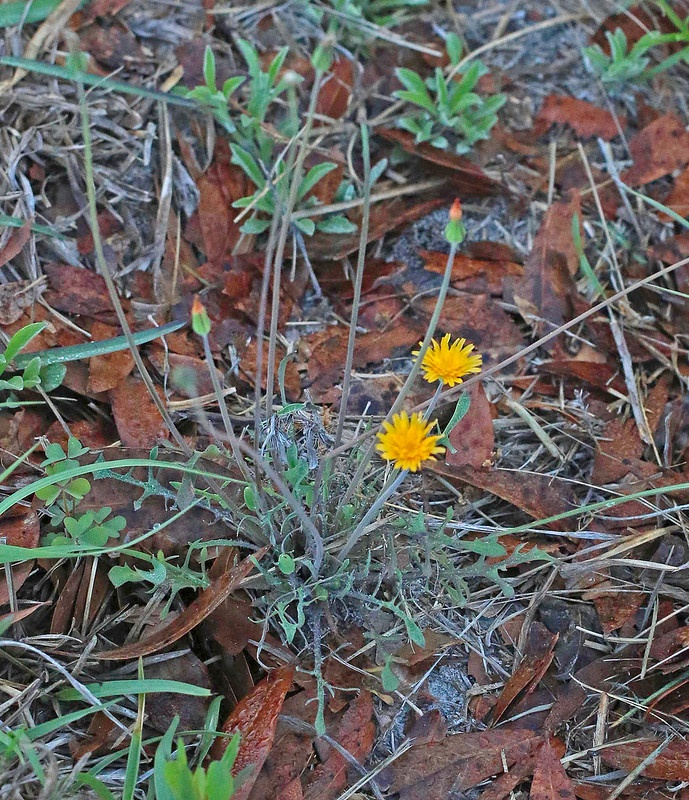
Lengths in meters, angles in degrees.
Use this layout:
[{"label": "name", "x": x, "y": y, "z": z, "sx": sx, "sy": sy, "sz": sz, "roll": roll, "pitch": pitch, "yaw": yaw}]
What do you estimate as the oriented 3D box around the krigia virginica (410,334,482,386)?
[{"label": "krigia virginica", "x": 0.166, "y": -0.068, "z": 1.370, "sx": 0.103, "sy": 0.103, "sz": 0.033, "roll": 6, "pitch": 65, "yaw": -34}]
